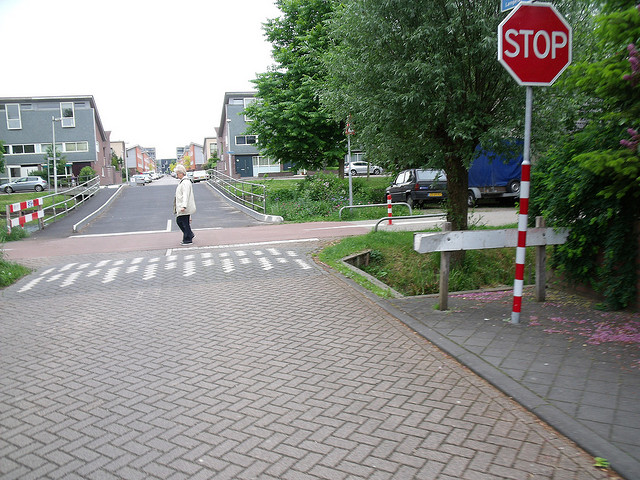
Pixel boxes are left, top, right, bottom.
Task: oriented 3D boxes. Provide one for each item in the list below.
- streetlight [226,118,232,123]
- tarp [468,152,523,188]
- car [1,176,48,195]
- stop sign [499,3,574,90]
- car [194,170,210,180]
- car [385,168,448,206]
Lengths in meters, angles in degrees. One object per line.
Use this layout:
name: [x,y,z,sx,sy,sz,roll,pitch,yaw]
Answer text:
streetlight: [-11.055,-14.670,60.769,0.731,0.508,0.378,3,12,25]
tarp: [7.229,-2.863,20.910,1.848,1.274,0.798,-1,11,7]
car: [-27.450,-5.298,46.853,3.793,1.271,1.861,-3,11,-1]
stop sign: [2.608,-2.382,6.096,0.973,1.012,0.277,-5,11,-12]
car: [-13.149,-7.407,56.633,1.132,0.928,3.959,-6,12,-15]
car: [4.211,-2.348,21.137,1.715,1.240,2.978,-5,15,-15]
